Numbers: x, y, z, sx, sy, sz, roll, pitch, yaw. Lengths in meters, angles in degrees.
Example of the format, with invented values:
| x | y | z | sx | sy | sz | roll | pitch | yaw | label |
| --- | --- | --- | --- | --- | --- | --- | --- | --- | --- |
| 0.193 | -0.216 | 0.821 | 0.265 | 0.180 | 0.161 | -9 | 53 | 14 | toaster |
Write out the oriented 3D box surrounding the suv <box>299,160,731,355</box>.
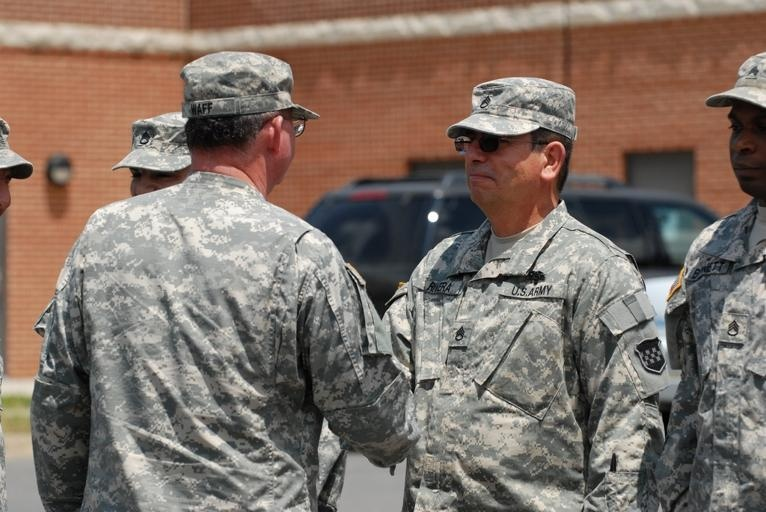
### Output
| x | y | z | sx | sy | sz | roll | pitch | yaw | label |
| --- | --- | --- | --- | --- | --- | --- | --- | --- | --- |
| 1.342 | -0.081 | 21.613 | 3.665 | 1.362 | 1.817 | -1 | 0 | -6 | suv |
